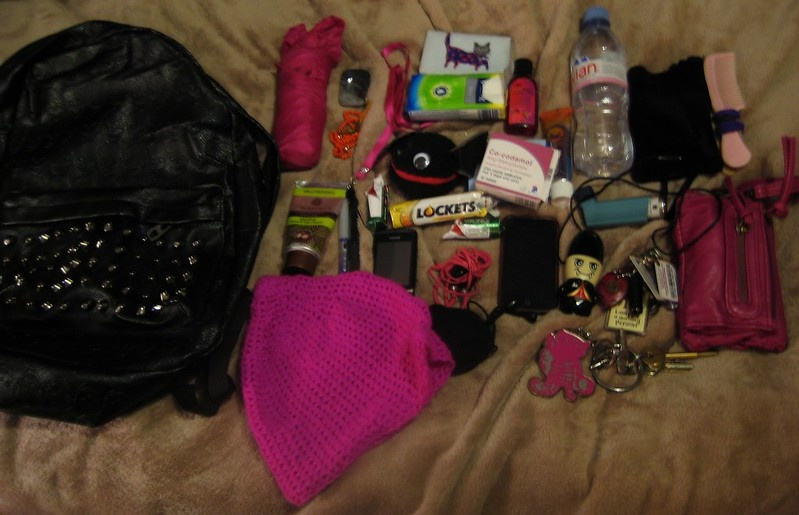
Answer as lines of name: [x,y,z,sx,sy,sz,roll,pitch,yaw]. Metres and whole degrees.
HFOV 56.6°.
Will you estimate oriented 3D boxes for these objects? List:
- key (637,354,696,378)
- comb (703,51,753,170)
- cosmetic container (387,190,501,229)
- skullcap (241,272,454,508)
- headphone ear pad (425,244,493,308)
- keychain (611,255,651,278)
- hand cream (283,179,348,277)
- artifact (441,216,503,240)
key: [0.614,0.254,1.692,0.107,0.026,0.054,0,83,7]
comb: [0.789,-0.362,1.784,0.094,0.054,0.293,-1,80,8]
cosmetic container: [0.101,-0.115,1.835,0.301,0.080,0.092,-11,65,8]
skullcap: [-0.136,0.271,1.579,0.404,0.079,0.481,-1,77,3]
headphone ear pad: [0.144,0.047,1.775,0.125,0.031,0.151,29,105,7]
keychain: [0.546,0.024,1.731,0.059,0.017,0.060,18,64,48]
hand cream: [-0.210,-0.056,1.803,0.136,0.088,0.221,9,75,-2]
artifact: [0.181,-0.068,1.783,0.104,0.042,0.060,-4,79,10]
